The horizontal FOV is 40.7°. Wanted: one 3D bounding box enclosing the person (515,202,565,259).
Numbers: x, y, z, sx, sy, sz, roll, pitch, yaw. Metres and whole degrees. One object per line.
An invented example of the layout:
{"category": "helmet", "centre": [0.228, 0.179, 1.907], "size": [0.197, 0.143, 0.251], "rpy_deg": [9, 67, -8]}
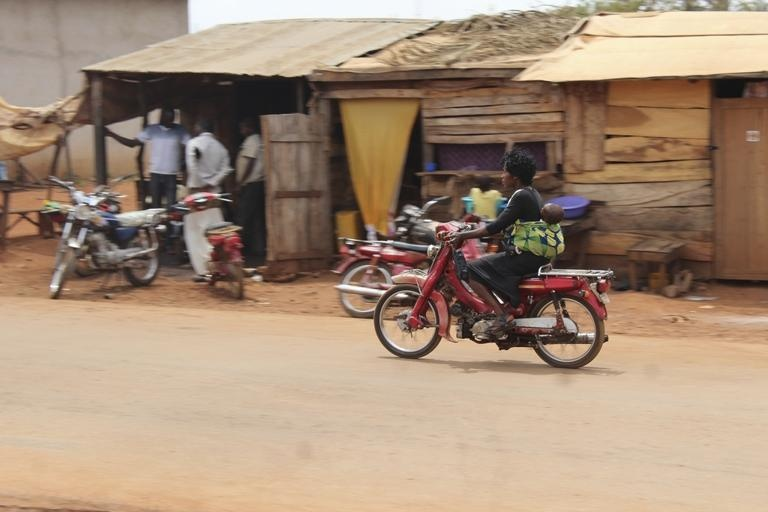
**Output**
{"category": "person", "centre": [1.747, -0.280, 11.688], "size": [0.526, 0.606, 0.250], "rpy_deg": [1, 8, -17]}

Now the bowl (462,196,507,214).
{"category": "bowl", "centre": [1.523, -0.770, 15.572], "size": [0.516, 0.203, 0.384], "rpy_deg": [0, 8, -2]}

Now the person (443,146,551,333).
{"category": "person", "centre": [1.377, -0.137, 11.790], "size": [0.880, 2.135, 0.566], "rpy_deg": [0, 9, -24]}

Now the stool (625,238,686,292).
{"category": "stool", "centre": [3.982, 0.125, 15.257], "size": [0.736, 0.742, 0.699], "rpy_deg": [4, 7, 16]}

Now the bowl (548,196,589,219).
{"category": "bowl", "centre": [2.808, -0.753, 15.512], "size": [0.629, 0.164, 0.508], "rpy_deg": [-15, 22, -22]}
